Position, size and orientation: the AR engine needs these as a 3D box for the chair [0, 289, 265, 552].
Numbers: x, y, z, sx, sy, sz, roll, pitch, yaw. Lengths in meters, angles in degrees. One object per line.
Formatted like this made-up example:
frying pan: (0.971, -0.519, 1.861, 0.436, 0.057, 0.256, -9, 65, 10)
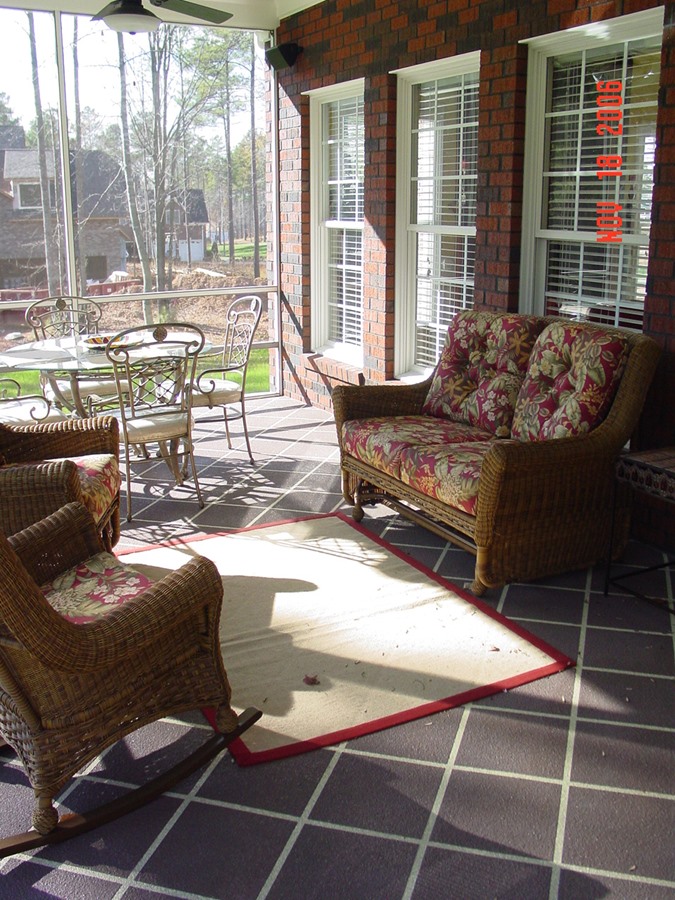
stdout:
chair: (-1.168, -0.191, 3.792, 1.573, 1.068, 0.910, -12, 36, -26)
